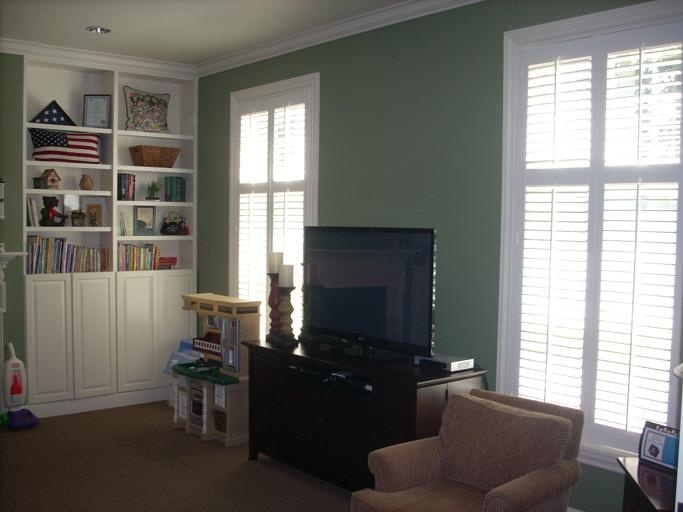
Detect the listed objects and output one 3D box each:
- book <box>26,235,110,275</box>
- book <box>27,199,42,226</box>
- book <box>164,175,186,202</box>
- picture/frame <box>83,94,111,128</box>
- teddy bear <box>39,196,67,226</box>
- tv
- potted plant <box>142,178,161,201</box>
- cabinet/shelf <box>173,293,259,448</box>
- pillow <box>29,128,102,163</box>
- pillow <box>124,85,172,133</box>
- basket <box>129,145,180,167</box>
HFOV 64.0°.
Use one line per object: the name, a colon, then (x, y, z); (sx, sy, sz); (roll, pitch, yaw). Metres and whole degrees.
book: (-2.643, -0.018, 5.301); (0.728, 0.348, 0.141); (-3, 6, -32)
book: (-2.907, -0.401, 5.166); (0.047, 0.369, 0.264); (0, 1, -11)
book: (-1.769, -0.703, 5.957); (0.227, 0.439, 0.324); (0, 6, -8)
picture/frame: (-2.435, -1.440, 5.449); (0.323, 0.448, 0.043); (3, -2, -10)
teddy bear: (-2.796, -0.427, 5.273); (0.190, 0.327, 0.259); (11, 7, 30)
tv: (0.226, 0.248, 3.784); (0.884, 0.676, 0.102); (3, 2, 44)
potted plant: (-1.972, -0.705, 5.839); (0.215, 0.273, 0.208); (0, -2, -13)
cabinet/shelf: (-1.055, 1.021, 4.700); (0.538, 1.448, 1.144); (-1, 2, -35)
pillow: (-2.671, -1.057, 5.298); (0.612, 0.316, 0.139); (-4, -2, -37)
pillow: (-2.036, -1.518, 5.753); (0.455, 0.446, 0.082); (-3, 25, -30)
basket: (-1.949, -0.980, 5.738); (0.383, 0.179, 0.259); (2, -3, -35)
